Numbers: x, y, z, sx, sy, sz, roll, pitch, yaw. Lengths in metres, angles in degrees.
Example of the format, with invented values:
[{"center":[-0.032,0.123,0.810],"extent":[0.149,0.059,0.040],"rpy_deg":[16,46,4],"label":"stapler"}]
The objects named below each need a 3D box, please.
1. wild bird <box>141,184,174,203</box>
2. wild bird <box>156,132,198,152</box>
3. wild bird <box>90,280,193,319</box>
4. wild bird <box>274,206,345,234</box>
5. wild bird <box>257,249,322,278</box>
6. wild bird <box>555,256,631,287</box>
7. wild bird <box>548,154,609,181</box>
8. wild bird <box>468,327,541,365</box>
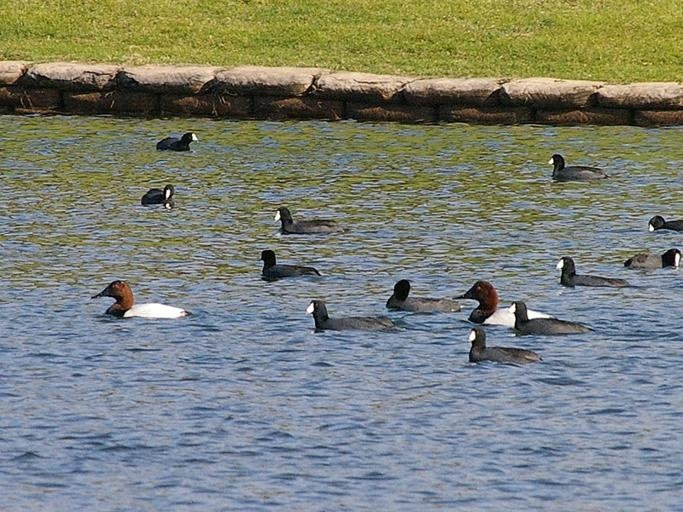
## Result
[{"center":[-3.586,-1.236,24.981],"extent":[0.693,0.450,0.433],"rpy_deg":[2,25,8],"label":"wild bird"},{"center":[-3.621,-2.627,29.445],"extent":[1.050,0.419,0.492],"rpy_deg":[8,13,36],"label":"wild bird"},{"center":[-3.055,0.659,19.255],"extent":[1.422,0.526,0.351],"rpy_deg":[5,27,16],"label":"wild bird"},{"center":[-0.565,-0.645,23.240],"extent":[1.259,0.486,0.423],"rpy_deg":[-1,25,0],"label":"wild bird"},{"center":[-0.823,0.104,20.968],"extent":[0.962,0.419,0.558],"rpy_deg":[-2,23,-2],"label":"wild bird"},{"center":[4.022,0.231,20.382],"extent":[1.113,0.471,0.431],"rpy_deg":[3,25,12],"label":"wild bird"},{"center":[4.944,-1.866,26.876],"extent":[1.268,0.503,0.708],"rpy_deg":[6,24,19],"label":"wild bird"},{"center":[2.285,1.234,17.901],"extent":[0.984,0.475,0.373],"rpy_deg":[0,26,5],"label":"wild bird"}]
